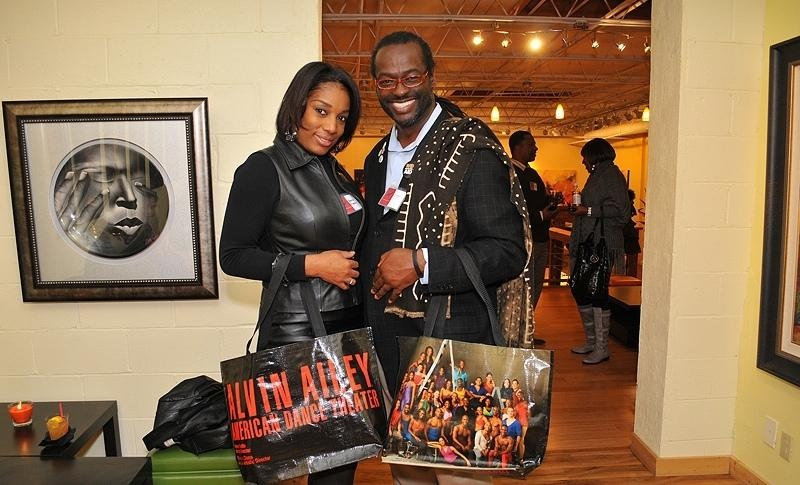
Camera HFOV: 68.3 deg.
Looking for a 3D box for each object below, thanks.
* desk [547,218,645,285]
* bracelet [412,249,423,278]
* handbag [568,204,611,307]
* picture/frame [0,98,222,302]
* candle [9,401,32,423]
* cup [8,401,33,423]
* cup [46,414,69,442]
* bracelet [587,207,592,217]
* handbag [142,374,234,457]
[{"bbox_3d":[2.268,0.134,6.919,0.584,0.786,0.861,4,24,3],"label":"desk"},{"bbox_3d":[0.092,0.112,3.123,0.045,0.120,0.104,-4,0,-1],"label":"bracelet"},{"bbox_3d":[1.914,0.220,5.967,0.390,0.931,0.319,1,7,36],"label":"handbag"},{"bbox_3d":[-2.062,-0.359,4.217,1.496,1.448,0.106,-1,7,1],"label":"picture/frame"},{"bbox_3d":[-2.505,1.140,3.963,0.130,0.137,0.145,0,-6,-9],"label":"candle"},{"bbox_3d":[-2.516,1.132,3.943,0.128,0.123,0.145,1,-8,-9],"label":"cup"},{"bbox_3d":[-2.203,1.200,3.803,0.149,0.174,0.141,-2,-2,0],"label":"cup"},{"bbox_3d":[1.886,-0.305,5.899,0.052,0.070,0.069,12,7,-3],"label":"bracelet"},{"bbox_3d":[-1.242,1.066,3.824,0.619,0.442,0.527,-4,2,-2],"label":"handbag"}]
